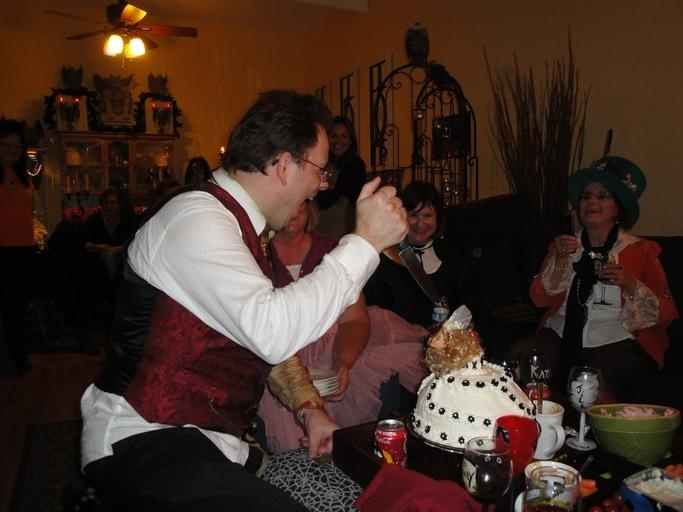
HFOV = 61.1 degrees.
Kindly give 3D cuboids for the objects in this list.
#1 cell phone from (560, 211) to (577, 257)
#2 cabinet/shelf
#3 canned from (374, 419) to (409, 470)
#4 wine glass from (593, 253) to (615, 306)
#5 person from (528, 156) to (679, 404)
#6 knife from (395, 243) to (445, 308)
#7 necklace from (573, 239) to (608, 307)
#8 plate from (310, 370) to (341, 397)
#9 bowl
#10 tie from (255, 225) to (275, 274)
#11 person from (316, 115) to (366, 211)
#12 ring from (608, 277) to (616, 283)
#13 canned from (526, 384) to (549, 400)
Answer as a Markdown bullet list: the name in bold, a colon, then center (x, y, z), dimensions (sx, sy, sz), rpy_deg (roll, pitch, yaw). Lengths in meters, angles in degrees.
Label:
- **cell phone**: center (1.269, -0.154, 3.277), dimensions (0.097, 0.023, 0.231), rpy_deg (-5, -39, 18)
- **cabinet/shelf**: center (-2.673, -0.787, 6.382), dimensions (1.362, 1.435, 0.449), rpy_deg (-2, 3, -29)
- **canned**: center (0.162, 0.608, 1.873), dimensions (0.113, 0.213, 0.121), rpy_deg (-2, 0, -7)
- **wine glass**: center (1.448, 0.142, 3.240), dimensions (0.093, 0.279, 0.170), rpy_deg (6, 9, 33)
- **person**: center (1.470, 0.119, 3.287), dimensions (0.790, 1.350, 0.640), rpy_deg (5, 9, 31)
- **knife**: center (0.391, 0.118, 2.957), dimensions (0.088, 0.382, 0.042), rpy_deg (-24, -8, -42)
- **necklace**: center (1.438, 0.113, 3.343), dimensions (0.083, 0.310, 0.209), rpy_deg (1, 1, -28)
- **plate**: center (-0.074, 0.512, 2.401), dimensions (0.102, 0.045, 0.110), rpy_deg (8, 5, 17)
- **bowl**: center (1.017, 0.618, 2.030), dimensions (0.314, 0.186, 0.244), rpy_deg (-3, 9, -26)
- **tie**: center (-0.265, -0.026, 2.037), dimensions (0.043, 0.134, 0.094), rpy_deg (-2, -2, 32)
- **person**: center (-0.034, -0.676, 4.668), dimensions (0.443, 0.862, 0.466), rpy_deg (5, 10, -1)
- **ring**: center (1.471, 0.135, 3.150), dimensions (0.038, 0.039, 0.059), rpy_deg (5, 9, 26)
- **canned**: center (0.741, 0.512, 2.189), dimensions (0.073, 0.081, 0.080), rpy_deg (1, -3, 10)
